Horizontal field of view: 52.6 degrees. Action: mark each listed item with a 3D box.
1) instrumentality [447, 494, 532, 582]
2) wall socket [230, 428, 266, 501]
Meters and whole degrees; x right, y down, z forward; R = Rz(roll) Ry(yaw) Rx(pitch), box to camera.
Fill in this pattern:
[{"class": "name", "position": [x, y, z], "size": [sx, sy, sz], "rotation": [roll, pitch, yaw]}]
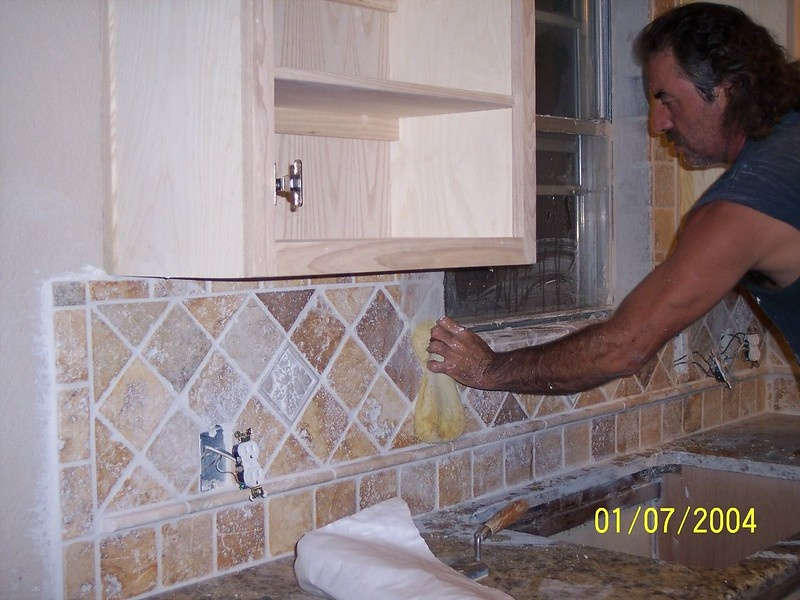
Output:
[{"class": "instrumentality", "position": [0.181, 0.499, 1.697], "size": [0.091, 0.115, 0.247], "rotation": [-1, 2, 32]}, {"class": "wall socket", "position": [-0.302, 0.330, 1.625], "size": [0.034, 0.144, 0.060], "rotation": [-7, -2, 41]}]
